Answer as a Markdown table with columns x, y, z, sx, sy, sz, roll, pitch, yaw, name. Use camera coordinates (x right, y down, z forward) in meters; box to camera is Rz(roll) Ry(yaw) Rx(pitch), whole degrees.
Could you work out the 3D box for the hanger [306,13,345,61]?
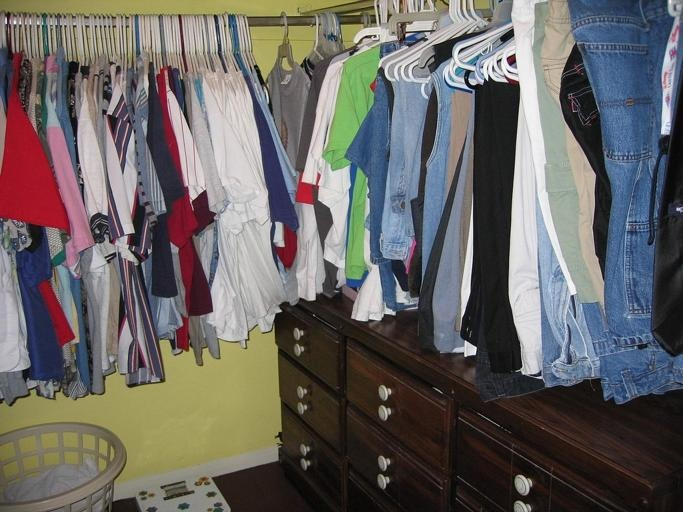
| x | y | z | sx | sy | sz | roll | pitch | yaw | name |
| --- | --- | --- | --- | --- | --- | --- | --- | --- | --- |
| -0.063 | -0.806 | 2.300 | 0.125 | 0.179 | 0.258 | -5 | 15 | 2 | hanger |
